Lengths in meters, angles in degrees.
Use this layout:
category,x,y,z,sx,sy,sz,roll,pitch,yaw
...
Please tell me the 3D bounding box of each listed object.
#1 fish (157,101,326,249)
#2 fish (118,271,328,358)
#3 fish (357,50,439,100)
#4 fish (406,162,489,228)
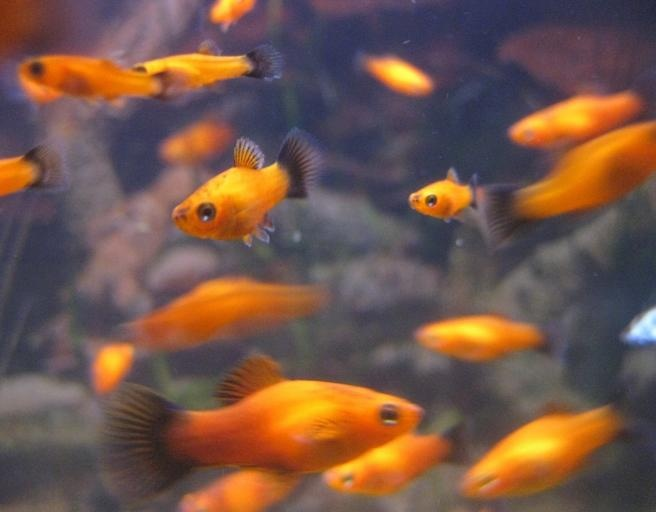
category,x,y,z,sx,sy,sz,roll,pitch,yaw
fish,-0.093,-0.105,1.009,0.241,0.070,0.160,-29,114,-30
fish,-0.123,0.065,1.044,0.258,0.081,0.116,-13,76,-8
fish,0.082,-0.216,1.021,0.089,0.025,0.036,11,72,10
fish,0.141,-0.066,0.995,0.120,0.036,0.080,-11,101,-21
